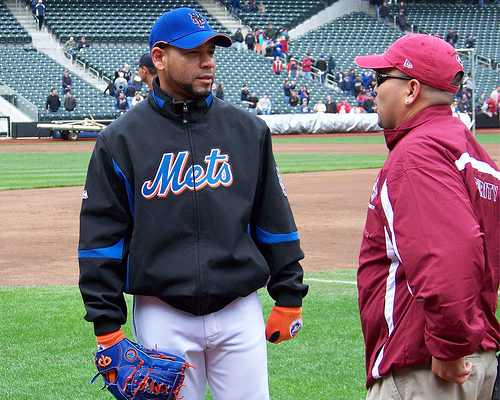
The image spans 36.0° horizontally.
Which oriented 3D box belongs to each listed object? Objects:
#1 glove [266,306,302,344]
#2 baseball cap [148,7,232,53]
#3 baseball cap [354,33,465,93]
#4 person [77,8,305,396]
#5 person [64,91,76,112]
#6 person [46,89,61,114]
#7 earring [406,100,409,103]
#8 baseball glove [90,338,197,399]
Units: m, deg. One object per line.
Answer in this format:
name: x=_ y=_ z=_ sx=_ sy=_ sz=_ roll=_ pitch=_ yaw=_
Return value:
glove: x=0.142 y=0.536 z=3.326 sx=0.149 sy=0.171 sz=0.074 roll=0 pitch=8 yaw=1
baseball cap: x=-0.269 y=-0.717 z=3.340 sx=0.283 sy=0.147 sz=0.202 roll=-8 pitch=2 yaw=30
baseball cap: x=0.674 y=-0.592 z=3.289 sx=0.467 sy=0.222 sz=0.293 roll=12 pitch=4 yaw=23
person: x=-0.255 y=0.017 z=3.263 sx=0.935 sy=1.608 sz=0.459 roll=-3 pitch=8 yaw=-14
person: x=-6.342 y=-3.441 z=27.145 sx=0.394 sy=0.716 sz=1.425 roll=-2 pitch=9 yaw=-13
person: x=-6.813 y=-3.390 z=26.627 sx=0.447 sy=0.812 sz=0.837 roll=-3 pitch=9 yaw=-16
earring: x=0.644 y=-0.403 z=3.165 sx=0.012 sy=0.010 sz=0.001 roll=8 pitch=12 yaw=44
baseball glove: x=-0.450 y=0.693 z=3.171 sx=0.332 sy=0.218 sz=0.122 roll=17 pitch=3 yaw=1
